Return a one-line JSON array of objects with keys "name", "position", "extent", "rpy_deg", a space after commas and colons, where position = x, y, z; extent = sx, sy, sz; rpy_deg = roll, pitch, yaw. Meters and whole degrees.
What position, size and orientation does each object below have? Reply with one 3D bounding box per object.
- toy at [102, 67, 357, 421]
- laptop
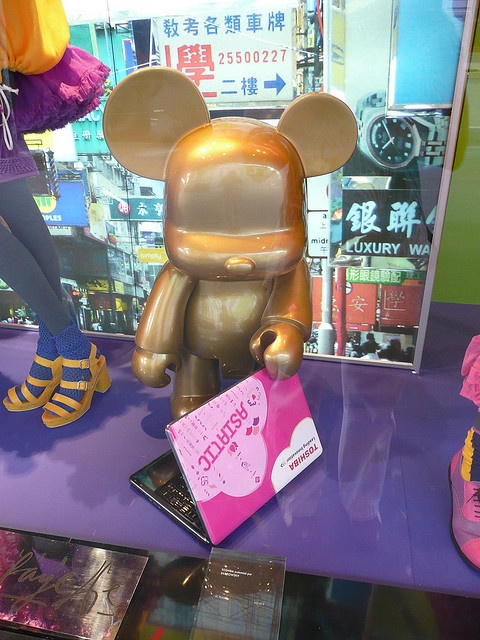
[{"name": "toy", "position": [-0.028, -0.067, 0.854], "extent": [0.431, 0.722, 0.242], "rpy_deg": [6, 33, 12]}, {"name": "laptop", "position": [-0.031, 0.289, 0.957], "extent": [0.373, 0.275, 0.281], "rpy_deg": [-31, 32, -28]}]
